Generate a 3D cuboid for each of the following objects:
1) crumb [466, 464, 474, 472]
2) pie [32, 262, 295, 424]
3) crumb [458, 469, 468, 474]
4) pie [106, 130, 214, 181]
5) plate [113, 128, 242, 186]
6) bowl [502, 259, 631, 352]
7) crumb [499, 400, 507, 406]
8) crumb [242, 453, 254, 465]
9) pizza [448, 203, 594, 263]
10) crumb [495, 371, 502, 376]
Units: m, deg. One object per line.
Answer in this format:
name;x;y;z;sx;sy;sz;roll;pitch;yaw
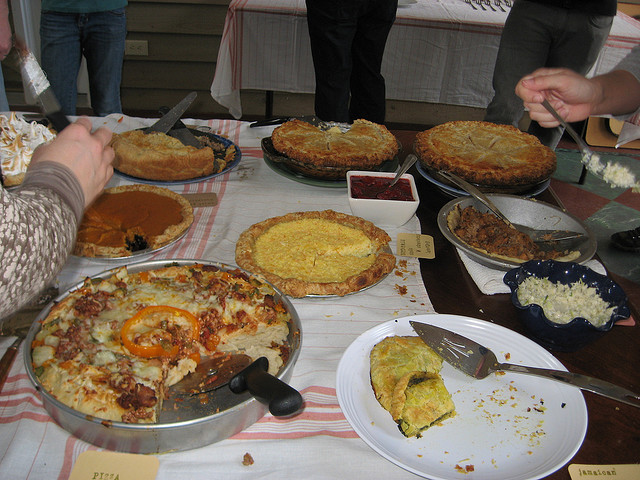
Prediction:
crumb;0.486;0.735;1.598;0.028;0.004;0.021;4;32;-6
pie;-0.585;0.336;1.863;0.885;0.189;0.689;-11;37;-27
crumb;0.457;0.741;1.587;0.027;0.003;0.016;3;32;-8
pie;-0.910;-0.479;2.885;0.417;0.137;0.412;-16;40;-35
plate;-0.766;-0.460;3.016;0.523;0.064;0.481;-11;35;-26
bowl;1.016;0.287;2.085;0.449;0.201;0.458;0;32;0
crumb;0.659;0.586;1.786;0.013;0.004;0.017;1;49;35
crumb;-0.245;0.737;1.663;0.029;0.008;0.028;-1;52;-9
pizza;0.915;-0.003;2.465;0.332;0.063;0.451;-20;36;-38
crumb;0.676;0.505;1.878;0.019;0.007;0.024;3;18;3
